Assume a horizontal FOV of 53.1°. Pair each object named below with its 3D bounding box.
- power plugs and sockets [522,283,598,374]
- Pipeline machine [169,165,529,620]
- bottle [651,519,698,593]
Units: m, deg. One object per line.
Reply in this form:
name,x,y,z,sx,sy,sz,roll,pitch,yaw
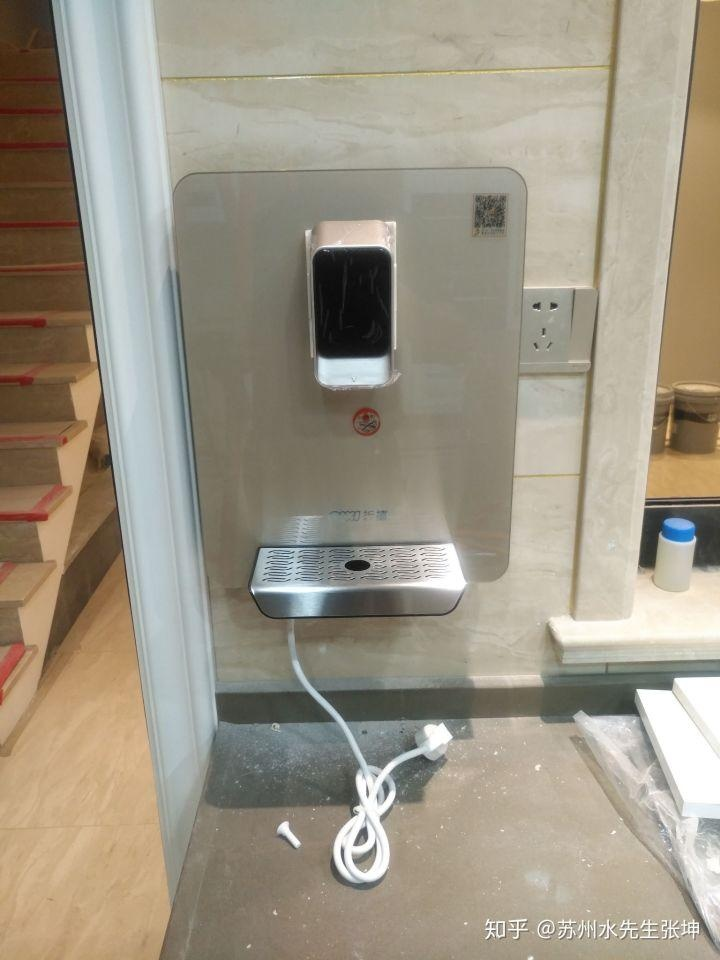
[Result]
power plugs and sockets,0.198,-0.155,0.715,0.077,0.078,0.024,-1,16,0
Pipeline machine,-0.014,-0.098,0.698,0.348,0.475,0.239,-1,35,1
bottle,0.404,0.082,0.913,0.044,0.084,0.110,11,22,25
